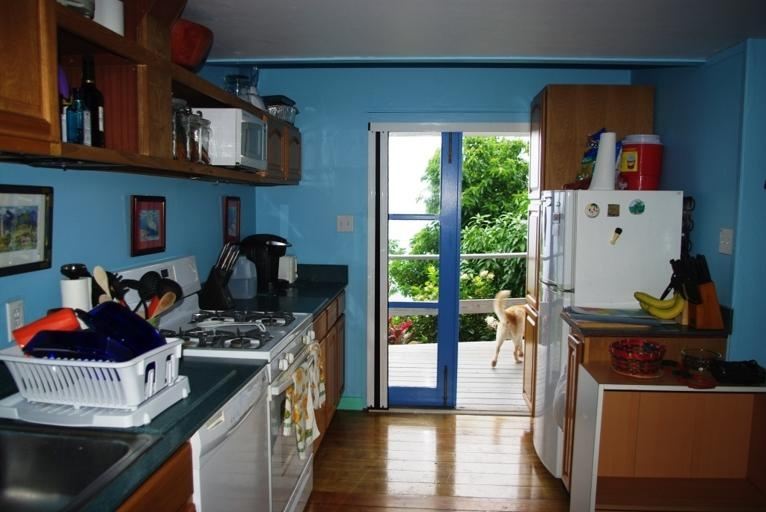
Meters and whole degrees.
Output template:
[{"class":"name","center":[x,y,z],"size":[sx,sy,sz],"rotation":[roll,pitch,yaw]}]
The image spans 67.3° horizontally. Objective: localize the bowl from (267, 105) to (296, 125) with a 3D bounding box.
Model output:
[{"class":"bowl","center":[-0.723,-0.998,4.109],"size":[0.164,0.059,0.165],"rotation":[-1,0,0]}]

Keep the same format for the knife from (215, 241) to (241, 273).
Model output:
[{"class":"knife","center":[-0.957,0.001,3.597],"size":[0.131,0.238,0.088],"rotation":[12,-3,4]}]

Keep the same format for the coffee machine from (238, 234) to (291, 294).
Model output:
[{"class":"coffee machine","center":[-0.858,0.038,4.204],"size":[0.444,0.484,0.344],"rotation":[-1,4,-2]}]

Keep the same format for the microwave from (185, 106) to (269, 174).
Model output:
[{"class":"microwave","center":[-0.921,-0.598,3.387],"size":[0.300,0.326,0.517],"rotation":[1,1,6]}]

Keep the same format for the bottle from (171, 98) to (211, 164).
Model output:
[{"class":"bottle","center":[-0.969,-0.631,2.990],"size":[0.267,0.383,0.279],"rotation":[0,0,0]}]

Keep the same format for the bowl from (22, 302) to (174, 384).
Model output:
[{"class":"bowl","center":[-1.174,0.286,2.287],"size":[0.545,0.212,0.185],"rotation":[1,14,3]}]

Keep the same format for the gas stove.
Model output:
[{"class":"gas stove","center":[-0.777,0.440,3.114],"size":[0.770,0.171,0.682],"rotation":[0,13,-5]}]

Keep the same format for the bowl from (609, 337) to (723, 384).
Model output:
[{"class":"bowl","center":[1.470,0.556,3.088],"size":[0.374,0.100,0.267],"rotation":[0,8,27]}]

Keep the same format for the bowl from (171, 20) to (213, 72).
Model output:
[{"class":"bowl","center":[-0.976,-1.084,2.929],"size":[0.245,0.187,0.232],"rotation":[6,-3,0]}]

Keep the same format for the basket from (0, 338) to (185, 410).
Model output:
[{"class":"basket","center":[-1.164,0.485,2.298],"size":[0.447,0.142,0.313],"rotation":[2,1,4]}]

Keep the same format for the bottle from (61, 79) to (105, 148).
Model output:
[{"class":"bottle","center":[-1.258,-0.609,2.424],"size":[0.117,0.277,0.252],"rotation":[-1,14,-7]}]

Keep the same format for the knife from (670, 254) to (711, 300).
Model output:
[{"class":"knife","center":[1.743,0.109,3.306],"size":[0.220,0.261,0.094],"rotation":[4,-12,-25]}]

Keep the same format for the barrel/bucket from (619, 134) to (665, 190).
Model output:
[{"class":"barrel/bucket","center":[1.630,-0.600,3.638],"size":[0.238,0.340,0.146],"rotation":[5,14,17]}]

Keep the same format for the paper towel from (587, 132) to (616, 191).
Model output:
[{"class":"paper towel","center":[1.400,-0.608,3.621],"size":[0.148,0.344,0.198],"rotation":[5,15,20]}]
